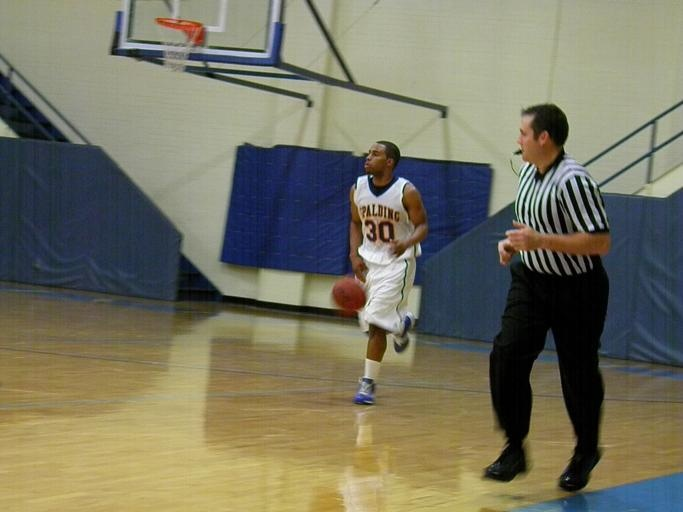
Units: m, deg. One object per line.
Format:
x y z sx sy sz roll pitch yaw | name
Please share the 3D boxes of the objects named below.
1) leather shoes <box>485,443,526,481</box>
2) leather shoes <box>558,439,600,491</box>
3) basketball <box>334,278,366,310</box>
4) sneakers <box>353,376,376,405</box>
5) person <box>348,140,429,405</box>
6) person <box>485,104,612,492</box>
0.848 1.061 4.024 0.252 0.160 0.131 -8 2 -18 | leather shoes
1.256 1.082 3.944 0.137 0.319 0.116 11 21 -48 | leather shoes
0.050 0.302 5.929 0.234 0.267 0.229 8 11 20 | basketball
0.170 0.967 5.610 0.154 0.181 0.266 5 5 3 | sneakers
0.323 0.099 5.826 0.573 1.915 0.820 4 6 -3 | person
1.068 0.188 4.029 0.634 1.887 0.772 1 3 14 | person
